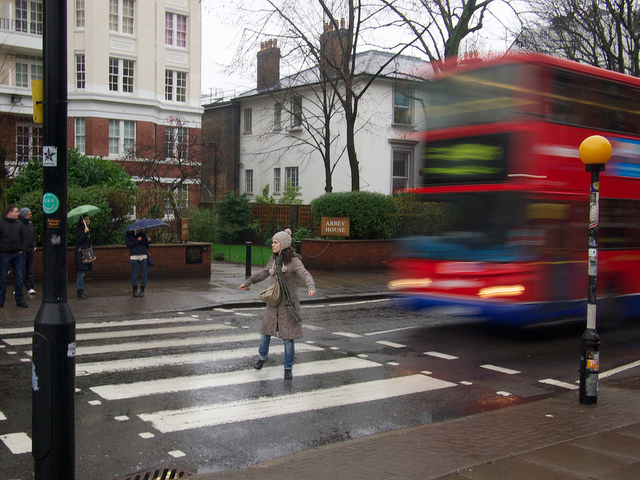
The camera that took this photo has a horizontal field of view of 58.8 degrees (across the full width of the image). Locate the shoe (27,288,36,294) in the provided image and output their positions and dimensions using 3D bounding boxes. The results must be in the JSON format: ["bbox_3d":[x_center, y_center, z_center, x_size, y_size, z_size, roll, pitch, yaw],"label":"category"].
[{"bbox_3d":[-8.123,1.412,15.891,0.112,0.118,0.258,-1,-3,-41],"label":"shoe"}]

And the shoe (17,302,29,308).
[{"bbox_3d":[-7.558,1.610,14.350,0.303,0.137,0.114,4,8,1],"label":"shoe"}]

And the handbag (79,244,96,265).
[{"bbox_3d":[-6.714,0.388,16.250,0.258,0.489,0.490,-1,21,46],"label":"handbag"}]

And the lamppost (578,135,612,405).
[{"bbox_3d":[3.944,0.387,8.271,0.403,3.793,0.933,3,4,26],"label":"lamppost"}]

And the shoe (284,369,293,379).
[{"bbox_3d":[-0.520,2.152,9.275,0.134,0.138,0.146,0,4,-10],"label":"shoe"}]

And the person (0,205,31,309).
[{"bbox_3d":[-7.857,0.367,14.487,0.613,2.527,0.852,-2,4,-31],"label":"person"}]

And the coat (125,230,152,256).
[{"bbox_3d":[-5.389,0.079,16.426,0.868,0.971,0.533,-1,0,-40],"label":"coat"}]

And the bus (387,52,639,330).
[{"bbox_3d":[4.459,-1.135,12.131,4.686,5.592,2.386,0,4,-7],"label":"bus"}]

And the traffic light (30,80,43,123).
[{"bbox_3d":[-2.949,-1.432,5.887,0.091,0.410,0.210,-1,4,-28],"label":"traffic light"}]

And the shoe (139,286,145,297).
[{"bbox_3d":[-5.175,1.437,16.374,0.138,0.290,0.318,-1,4,-21],"label":"shoe"}]

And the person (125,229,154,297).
[{"bbox_3d":[-5.324,0.613,16.682,0.704,1.885,1.142,0,4,-18],"label":"person"}]

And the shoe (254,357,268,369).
[{"bbox_3d":[-1.026,2.075,9.683,0.205,0.181,0.229,0,4,-6],"label":"shoe"}]

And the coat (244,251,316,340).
[{"bbox_3d":[-0.638,0.947,9.437,0.988,1.475,0.769,0,4,-7],"label":"coat"}]

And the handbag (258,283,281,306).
[{"bbox_3d":[-0.813,0.871,9.388,0.359,0.297,0.183,-2,3,22],"label":"handbag"}]

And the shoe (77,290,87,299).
[{"bbox_3d":[-6.619,1.462,15.716,0.237,0.223,0.359,-1,4,-25],"label":"shoe"}]
